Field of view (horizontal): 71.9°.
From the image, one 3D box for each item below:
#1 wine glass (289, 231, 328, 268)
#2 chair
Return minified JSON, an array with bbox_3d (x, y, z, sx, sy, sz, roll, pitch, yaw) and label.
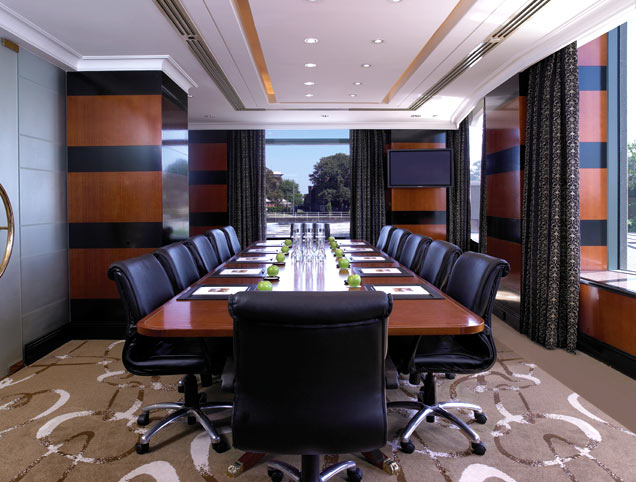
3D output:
[{"bbox_3d":[-0.082,0.070,4.199,0.329,0.302,0.321,0,0,-5],"label":"wine glass"},{"bbox_3d":[-0.208,0.487,3.038,1.757,0.755,2.141,0,3,4],"label":"chair"}]
